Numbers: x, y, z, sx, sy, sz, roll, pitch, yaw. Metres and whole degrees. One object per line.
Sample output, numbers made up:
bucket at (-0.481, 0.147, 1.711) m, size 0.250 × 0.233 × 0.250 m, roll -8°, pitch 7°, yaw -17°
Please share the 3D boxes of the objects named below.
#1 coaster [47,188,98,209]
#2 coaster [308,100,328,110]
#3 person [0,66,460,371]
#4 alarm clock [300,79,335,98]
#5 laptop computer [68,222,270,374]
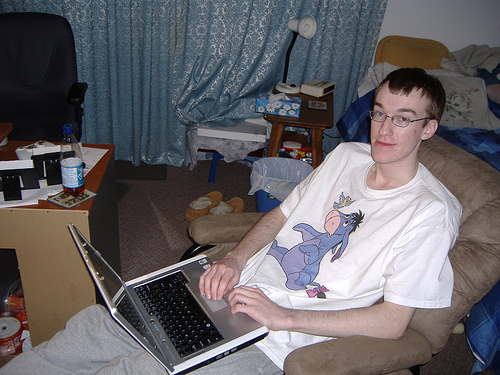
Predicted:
coaster at (-0.808, 0.050, 1.770) m, size 0.153 × 0.037 × 0.142 m, roll 12°, pitch 23°, yaw 21°
coaster at (0.525, -0.637, 3.020) m, size 0.152 × 0.048 × 0.171 m, roll 6°, pitch 22°, yaw 8°
person at (0.091, 0.140, 1.682) m, size 1.851 × 0.997 × 0.978 m, roll -10°, pitch 30°, yaw -15°
alarm clock at (0.556, -0.817, 3.212) m, size 0.209 × 0.121 × 0.215 m, roll 17°, pitch 25°, yaw 30°
laptop computer at (-0.300, 0.411, 1.455) m, size 0.483 × 0.374 × 0.598 m, roll -14°, pitch 27°, yaw -37°
